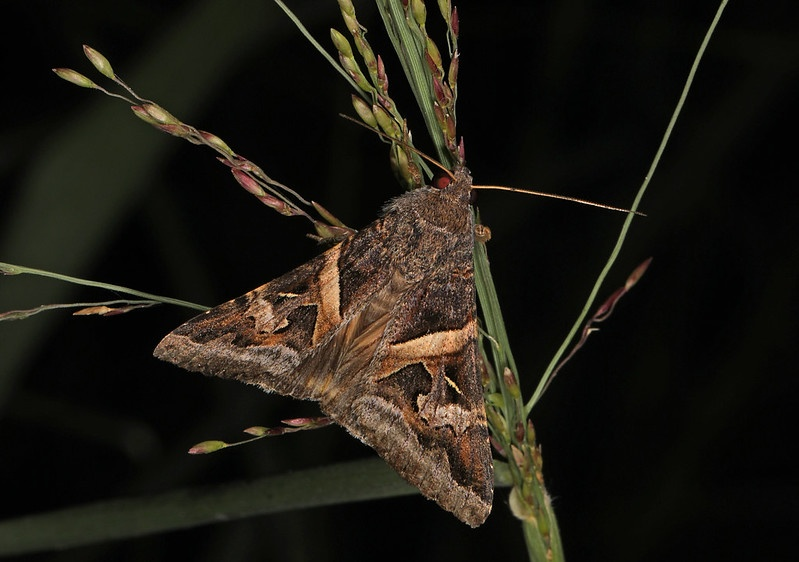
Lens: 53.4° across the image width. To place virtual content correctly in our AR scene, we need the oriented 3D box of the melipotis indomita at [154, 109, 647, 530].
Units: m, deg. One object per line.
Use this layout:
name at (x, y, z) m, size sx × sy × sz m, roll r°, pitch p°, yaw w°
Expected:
melipotis indomita at (-0.081, 0.312, 4.209) m, size 2.043 × 0.669 × 2.253 m, roll 30°, pitch -90°, yaw 7°
